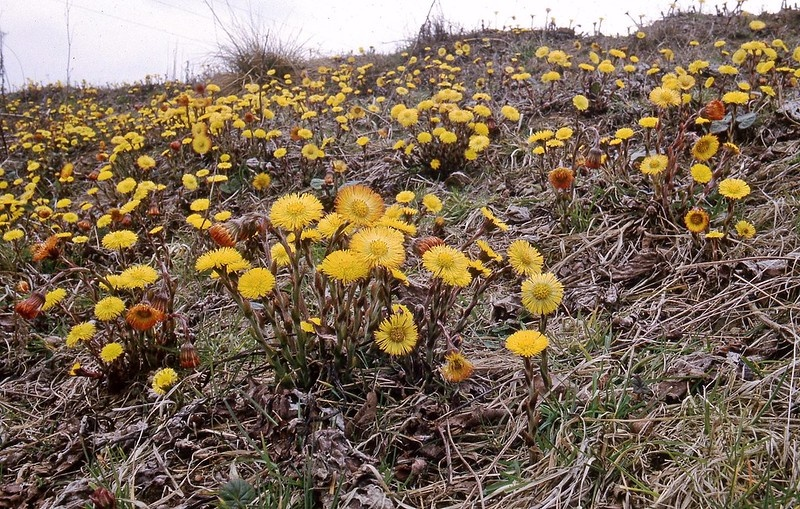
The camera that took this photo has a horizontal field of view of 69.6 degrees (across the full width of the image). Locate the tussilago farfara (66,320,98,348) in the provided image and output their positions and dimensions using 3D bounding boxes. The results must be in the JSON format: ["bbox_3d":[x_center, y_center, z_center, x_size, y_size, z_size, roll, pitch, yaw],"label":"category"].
[{"bbox_3d":[-2.063,0.521,3.722,0.178,0.064,0.176,-27,31,25],"label":"tussilago farfara"}]
